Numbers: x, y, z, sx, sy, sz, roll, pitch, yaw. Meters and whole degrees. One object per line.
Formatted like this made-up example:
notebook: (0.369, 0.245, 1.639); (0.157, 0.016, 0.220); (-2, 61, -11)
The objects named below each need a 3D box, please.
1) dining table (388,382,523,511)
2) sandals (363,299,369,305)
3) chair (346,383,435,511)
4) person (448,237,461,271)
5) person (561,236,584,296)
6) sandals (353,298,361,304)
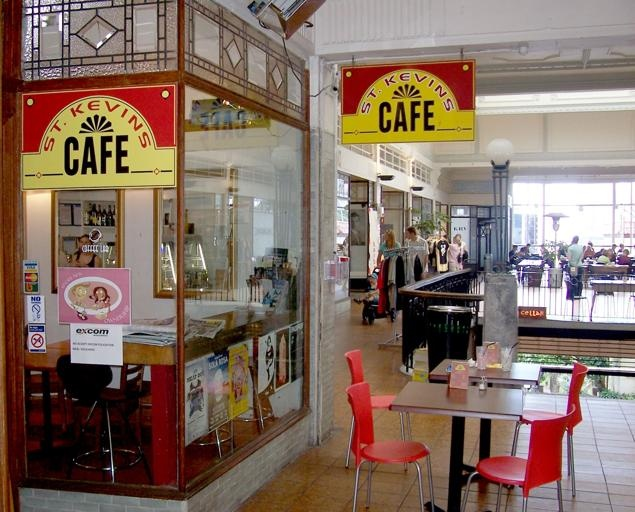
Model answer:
dining table: (1.002, 1.085, 4.273); (0.894, 1.012, 0.973); (0, 7, 8)
sandals: (1.057, 0.997, 12.709); (0.162, 0.056, 0.165); (-1, 4, -10)
chair: (0.564, 1.404, 4.465); (0.613, 1.054, 1.151); (-1, 2, 6)
person: (4.278, -0.092, 18.096); (0.423, 1.058, 0.890); (0, 2, 13)
person: (6.638, 0.289, 15.052); (0.397, 1.604, 2.009); (0, 3, 23)
sandals: (0.925, 1.009, 13.335); (0.142, 0.099, 0.237); (2, -8, 11)
